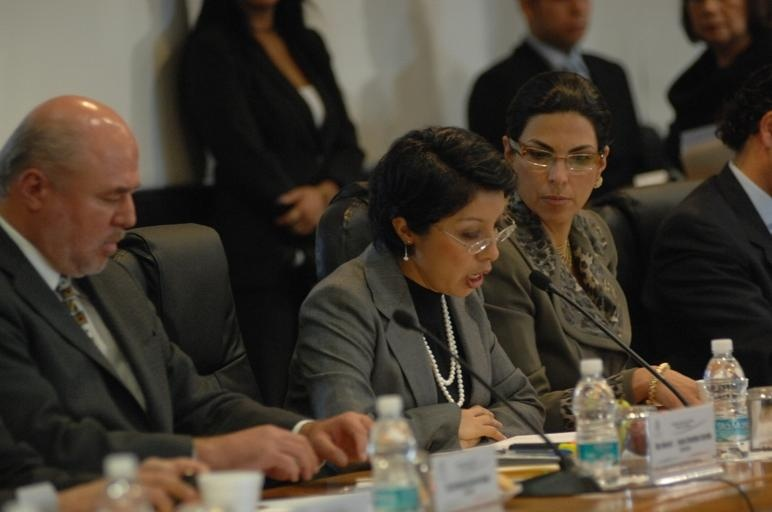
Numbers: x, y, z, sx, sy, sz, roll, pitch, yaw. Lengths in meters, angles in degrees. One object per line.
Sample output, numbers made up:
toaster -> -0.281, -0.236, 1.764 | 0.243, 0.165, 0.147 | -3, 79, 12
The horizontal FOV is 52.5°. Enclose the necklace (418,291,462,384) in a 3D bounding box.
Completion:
necklace -> 0.208, 0.322, 2.848 | 0.146, 0.242, 0.060 | -10, -10, 1
